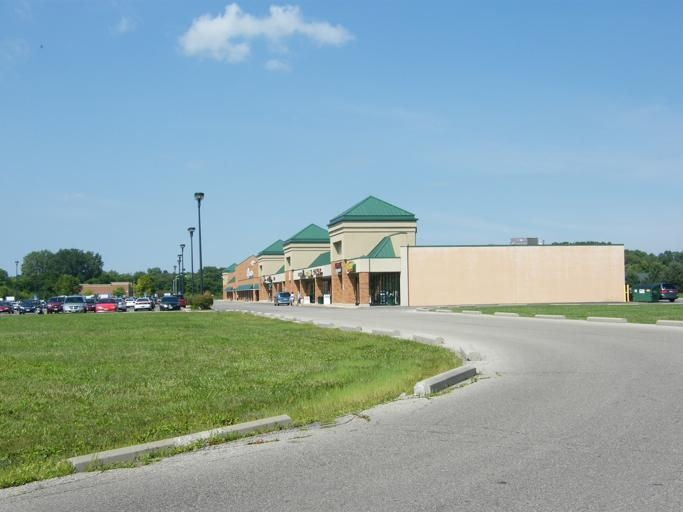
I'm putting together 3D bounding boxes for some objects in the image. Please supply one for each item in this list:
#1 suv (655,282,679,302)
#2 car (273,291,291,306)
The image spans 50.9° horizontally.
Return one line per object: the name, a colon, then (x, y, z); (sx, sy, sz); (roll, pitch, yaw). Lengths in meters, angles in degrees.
suv: (26.543, 2.989, 58.474); (1.244, 1.476, 2.266); (-1, -1, 7)
car: (-5.986, 4.330, 72.783); (1.501, 1.409, 1.779); (-1, -1, -19)
